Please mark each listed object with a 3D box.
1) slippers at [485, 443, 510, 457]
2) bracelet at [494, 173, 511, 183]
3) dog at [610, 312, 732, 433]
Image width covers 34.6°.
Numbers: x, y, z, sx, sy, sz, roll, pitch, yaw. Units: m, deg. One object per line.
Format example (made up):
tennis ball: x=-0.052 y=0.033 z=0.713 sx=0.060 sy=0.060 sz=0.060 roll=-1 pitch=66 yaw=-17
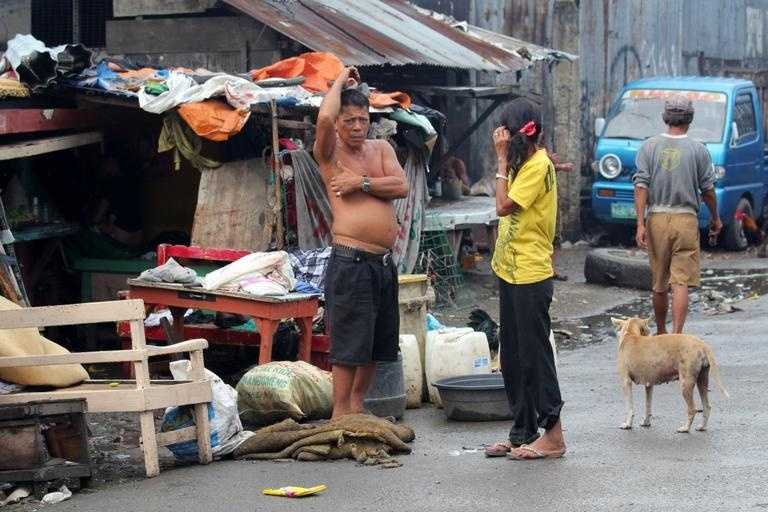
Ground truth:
slippers: x=1.069 y=1.835 z=11.468 sx=0.264 sy=0.094 sz=0.104 roll=0 pitch=-2 yaw=3
bracelet: x=1.092 y=-0.736 z=11.372 sx=0.087 sy=0.035 sz=0.074 roll=15 pitch=13 yaw=-22
dog: x=2.737 y=1.163 z=11.983 sx=0.492 sy=1.102 sz=1.587 roll=4 pitch=-3 yaw=-29
